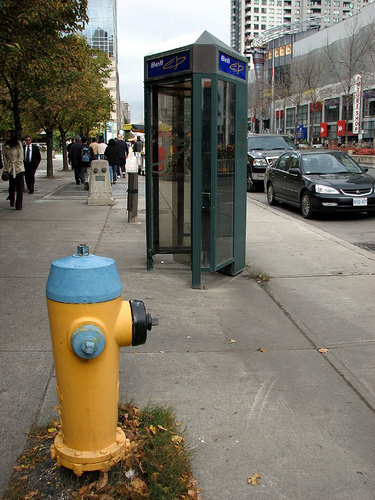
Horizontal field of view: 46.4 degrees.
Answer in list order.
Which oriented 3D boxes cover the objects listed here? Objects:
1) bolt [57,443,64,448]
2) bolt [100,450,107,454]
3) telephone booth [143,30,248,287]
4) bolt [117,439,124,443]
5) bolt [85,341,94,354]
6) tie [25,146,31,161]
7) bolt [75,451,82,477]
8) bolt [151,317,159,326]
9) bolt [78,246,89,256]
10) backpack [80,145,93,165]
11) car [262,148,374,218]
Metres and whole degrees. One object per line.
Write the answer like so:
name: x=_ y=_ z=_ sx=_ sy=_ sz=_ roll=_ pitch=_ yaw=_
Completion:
bolt: x=-0.536 y=0.832 z=1.850 sx=0.028 sy=0.004 sz=0.024 roll=-1 pitch=10 yaw=-14
bolt: x=-0.348 y=0.842 z=1.817 sx=0.029 sy=0.008 sz=0.017 roll=-2 pitch=10 yaw=-19
telephone booth: x=-0.010 y=-1.149 z=5.888 sx=1.345 sy=3.070 sz=1.357 roll=5 pitch=9 yaw=24
bolt: x=-0.292 y=0.837 z=1.906 sx=0.029 sy=0.007 sz=0.025 roll=-2 pitch=10 yaw=-16
bolt: x=-0.373 y=0.374 z=1.670 sx=0.031 sy=0.055 sz=0.014 roll=-2 pitch=9 yaw=-17
tie: x=-5.830 y=-3.548 z=16.056 sx=0.167 sy=0.500 sz=0.090 roll=-3 pitch=9 yaw=-24
bolt: x=-0.446 y=0.885 z=1.792 sx=0.025 sy=0.095 sz=0.051 roll=-1 pitch=9 yaw=-14
bolt: x=-0.151 y=0.325 z=1.976 sx=0.036 sy=0.052 sz=0.052 roll=1 pitch=-1 yaw=-18
bolt: x=-0.419 y=0.003 z=1.761 sx=0.036 sy=0.040 sz=0.039 roll=-1 pitch=12 yaw=-3
backpack: x=-4.236 y=-3.980 z=18.179 sx=0.474 sy=0.810 sz=0.488 roll=0 pitch=9 yaw=-10
car: x=3.971 y=-2.054 z=13.135 sx=2.206 sy=1.960 sz=4.162 roll=0 pitch=9 yaw=-8
